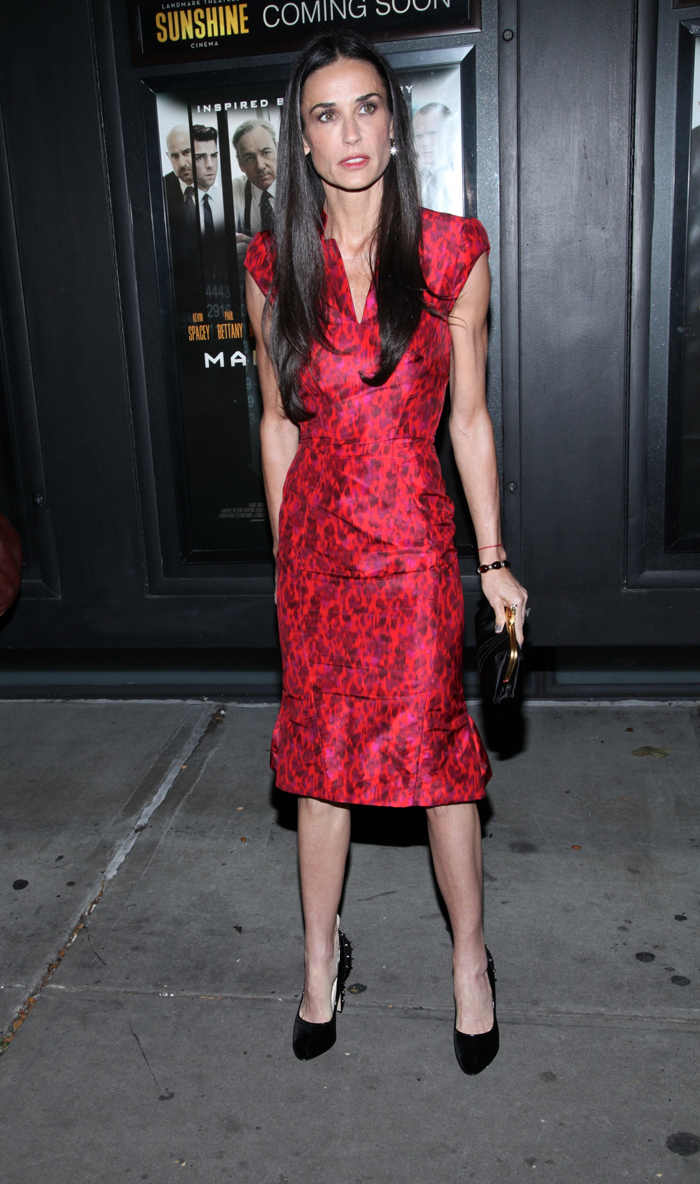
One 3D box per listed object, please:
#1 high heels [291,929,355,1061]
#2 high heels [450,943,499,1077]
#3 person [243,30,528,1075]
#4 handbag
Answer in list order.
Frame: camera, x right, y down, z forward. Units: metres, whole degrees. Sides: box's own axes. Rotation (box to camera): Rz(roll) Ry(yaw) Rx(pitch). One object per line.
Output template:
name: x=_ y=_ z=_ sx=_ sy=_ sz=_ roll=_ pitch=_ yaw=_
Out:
high heels: x=-0.066 y=0.870 z=1.865 sx=0.092 sy=0.058 sz=0.334 roll=-1 pitch=4 yaw=4
high heels: x=0.234 y=0.776 z=1.669 sx=0.080 sy=0.293 sz=0.043 roll=-12 pitch=19 yaw=-17
person: x=0.057 y=-0.041 z=1.694 sx=0.537 sy=1.866 sz=0.303 roll=-1 pitch=9 yaw=11
handbag: x=0.387 y=0.238 z=2.266 sx=0.135 sy=0.437 sz=0.410 roll=3 pitch=58 yaw=10
